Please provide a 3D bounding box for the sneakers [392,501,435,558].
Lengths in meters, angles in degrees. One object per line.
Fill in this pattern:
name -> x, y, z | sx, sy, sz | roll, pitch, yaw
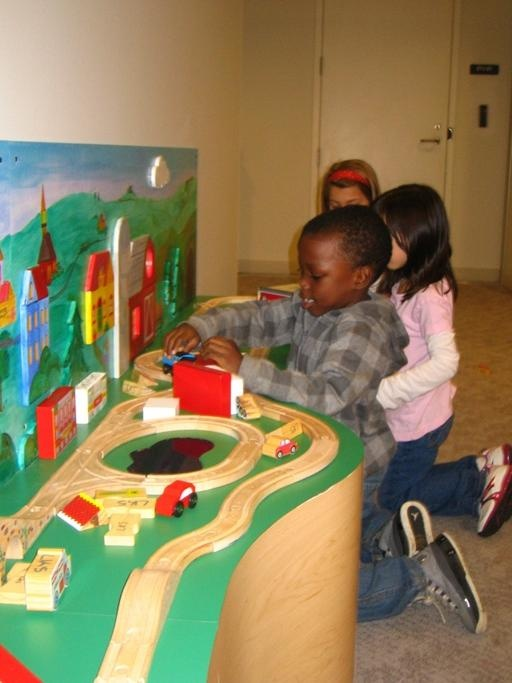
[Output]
sneakers -> 0.427, 0.486, 1.380 | 0.065, 0.200, 0.076 | 9, -17, -11
